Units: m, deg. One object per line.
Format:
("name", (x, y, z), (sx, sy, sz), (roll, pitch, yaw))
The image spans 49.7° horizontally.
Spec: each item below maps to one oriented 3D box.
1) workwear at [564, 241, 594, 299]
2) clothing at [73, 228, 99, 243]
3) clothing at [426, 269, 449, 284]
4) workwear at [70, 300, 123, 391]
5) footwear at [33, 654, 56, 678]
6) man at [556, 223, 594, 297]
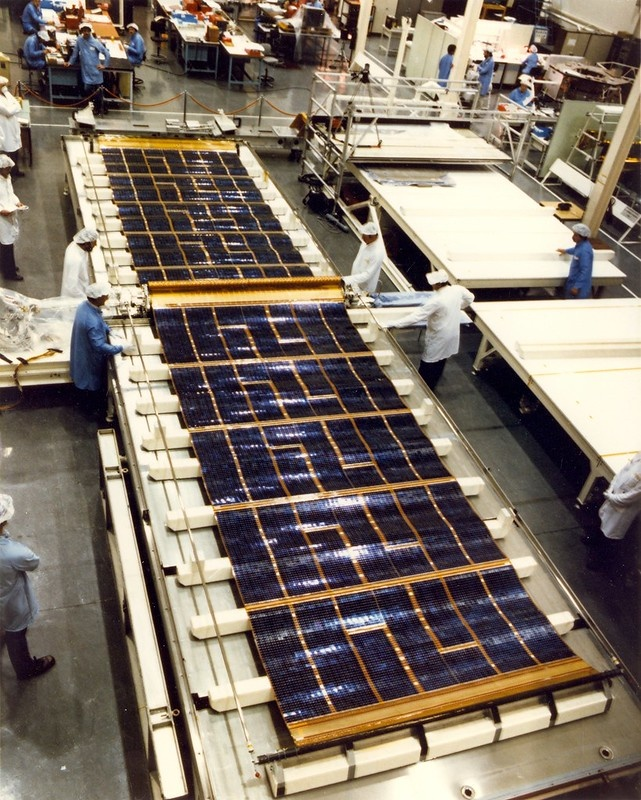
("workwear", (4.371, -2.170, 11.673), (0.404, 1.117, 0.511), (4, 47, 12))
("clothing", (-3.024, -2.082, 8.961), (0.265, 0.131, 0.208), (-26, 47, -33))
("clothing", (1.571, -1.569, 9.010), (0.385, 0.109, 0.233), (-5, 83, -21))
("workwear", (-2.532, -0.590, 7.853), (0.475, 0.861, 0.652), (-12, 58, -24))
("footwear", (-2.289, 2.195, 5.750), (0.241, 0.098, 0.080), (-34, 71, -30))
("man", (4.393, -2.344, 11.903), (0.606, 1.559, 0.711), (2, 51, 12))
